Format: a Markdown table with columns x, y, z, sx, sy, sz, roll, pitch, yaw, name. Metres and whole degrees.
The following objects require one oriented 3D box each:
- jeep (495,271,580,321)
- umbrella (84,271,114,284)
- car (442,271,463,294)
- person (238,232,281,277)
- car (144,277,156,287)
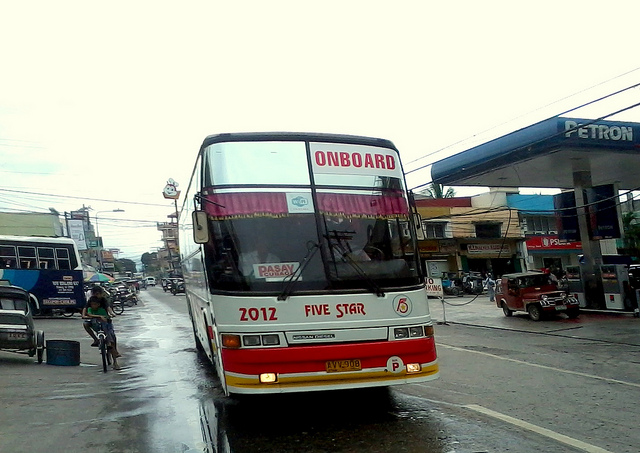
| x | y | z | sx | sy | sz | roll | pitch | yaw | name |
| --- | --- | --- | --- | --- | --- | --- | --- | --- | --- |
| 9.174 | 2.914 | 19.542 | 1.967 | 1.217 | 2.859 | -1 | -9 | -14 | jeep |
| -16.100 | 3.758 | 33.061 | 2.491 | 0.654 | 2.199 | -1 | -5 | 2 | umbrella |
| 11.215 | 4.829 | 38.388 | 1.613 | 1.490 | 1.911 | 0 | -7 | -15 | car |
| -0.827 | 0.419 | 6.432 | 0.811 | 0.549 | 0.421 | -1 | -5 | -20 | person |
| -34.380 | 11.431 | 92.999 | 2.622 | 1.604 | 4.101 | 1 | -1 | -21 | car |
